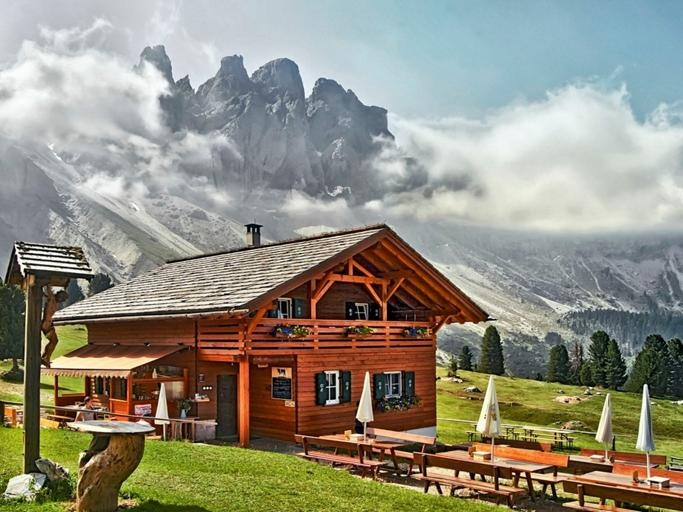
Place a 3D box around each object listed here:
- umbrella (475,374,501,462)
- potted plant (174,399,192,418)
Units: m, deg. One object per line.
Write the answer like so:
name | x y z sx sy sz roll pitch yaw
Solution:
umbrella | 4.670 4.947 21.955 0.662 2.571 2.012 7 2 12
potted plant | -6.336 6.085 28.141 0.649 0.721 0.638 1 -18 -8
